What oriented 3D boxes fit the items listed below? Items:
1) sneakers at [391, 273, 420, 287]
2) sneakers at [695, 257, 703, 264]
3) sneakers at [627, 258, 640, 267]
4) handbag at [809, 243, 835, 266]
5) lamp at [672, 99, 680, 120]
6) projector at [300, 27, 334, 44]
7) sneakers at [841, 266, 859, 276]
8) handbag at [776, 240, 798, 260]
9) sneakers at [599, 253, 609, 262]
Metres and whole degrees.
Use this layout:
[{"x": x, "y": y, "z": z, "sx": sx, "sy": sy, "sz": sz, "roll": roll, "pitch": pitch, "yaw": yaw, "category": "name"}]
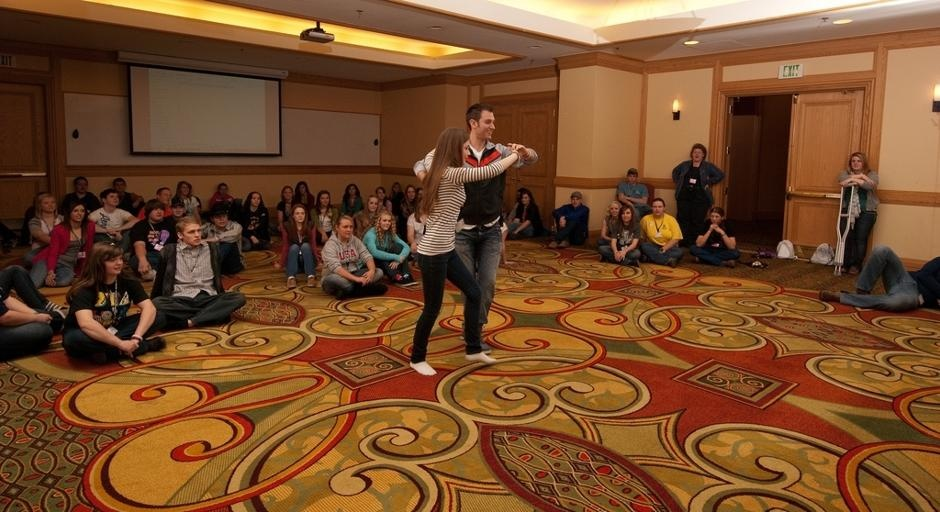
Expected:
[{"x": -1.074, "y": 0.397, "z": 8.921, "sx": 0.364, "sy": 0.134, "sz": 0.209, "roll": 2, "pitch": 4, "yaw": 39, "category": "sneakers"}, {"x": 4.304, "y": 0.083, "z": 10.412, "sx": 0.163, "sy": 0.080, "sz": 0.092, "roll": 28, "pitch": 1, "yaw": -8, "category": "sneakers"}, {"x": 3.037, "y": 0.131, "z": 10.266, "sx": 0.164, "sy": 0.108, "sz": 0.160, "roll": 5, "pitch": 14, "yaw": 18, "category": "sneakers"}, {"x": 6.708, "y": -0.006, "z": 10.498, "sx": 0.388, "sy": 0.411, "sz": 0.177, "roll": 16, "pitch": -8, "yaw": 42, "category": "handbag"}, {"x": 4.494, "y": -3.200, "z": 12.055, "sx": 0.182, "sy": 0.451, "sz": 0.075, "roll": 7, "pitch": 16, "yaw": 25, "category": "lamp"}, {"x": -2.787, "y": -3.985, "z": 9.975, "sx": 0.647, "sy": 0.193, "sz": 0.420, "roll": -3, "pitch": 14, "yaw": -15, "category": "projector"}, {"x": 6.778, "y": 0.261, "z": 9.867, "sx": 0.155, "sy": 0.166, "sz": 0.448, "roll": -5, "pitch": -6, "yaw": 38, "category": "sneakers"}, {"x": 6.234, "y": -0.075, "z": 11.083, "sx": 0.476, "sy": 0.425, "sz": 0.390, "roll": -6, "pitch": -10, "yaw": 43, "category": "handbag"}, {"x": 2.535, "y": 0.033, "z": 10.457, "sx": 0.113, "sy": 0.141, "sz": 0.224, "roll": -3, "pitch": 14, "yaw": -12, "category": "sneakers"}]
